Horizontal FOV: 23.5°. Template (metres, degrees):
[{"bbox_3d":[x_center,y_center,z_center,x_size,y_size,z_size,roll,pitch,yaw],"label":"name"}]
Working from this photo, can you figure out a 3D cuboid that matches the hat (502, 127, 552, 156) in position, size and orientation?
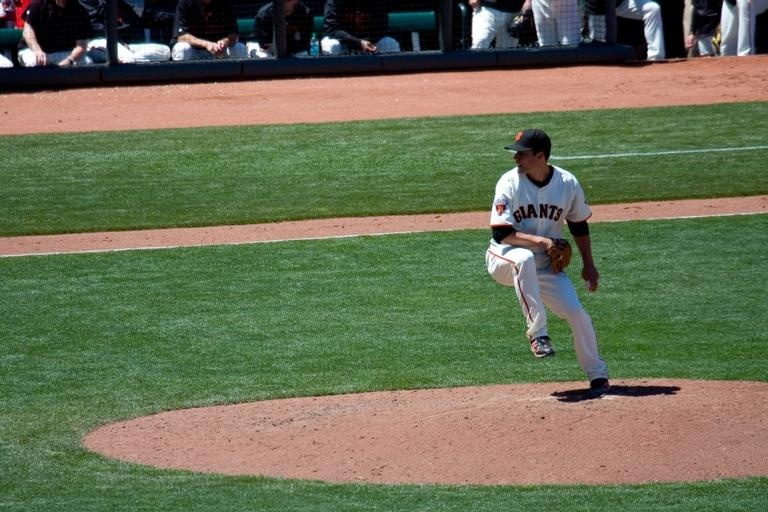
[{"bbox_3d":[1.646,-1.309,21.275,0.511,0.252,0.343,10,8,-2],"label":"hat"}]

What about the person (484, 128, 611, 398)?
[{"bbox_3d":[1.833,0.067,21.248,1.308,3.007,0.736,-3,9,5],"label":"person"}]

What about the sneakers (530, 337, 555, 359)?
[{"bbox_3d":[1.808,1.031,21.202,0.255,0.252,0.205,-3,9,4],"label":"sneakers"}]

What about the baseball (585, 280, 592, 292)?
[{"bbox_3d":[2.364,0.346,21.387,0.082,0.101,0.045,14,24,40],"label":"baseball"}]

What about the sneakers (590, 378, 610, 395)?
[{"bbox_3d":[2.448,1.481,21.142,0.195,0.176,0.487,-2,-3,10],"label":"sneakers"}]
